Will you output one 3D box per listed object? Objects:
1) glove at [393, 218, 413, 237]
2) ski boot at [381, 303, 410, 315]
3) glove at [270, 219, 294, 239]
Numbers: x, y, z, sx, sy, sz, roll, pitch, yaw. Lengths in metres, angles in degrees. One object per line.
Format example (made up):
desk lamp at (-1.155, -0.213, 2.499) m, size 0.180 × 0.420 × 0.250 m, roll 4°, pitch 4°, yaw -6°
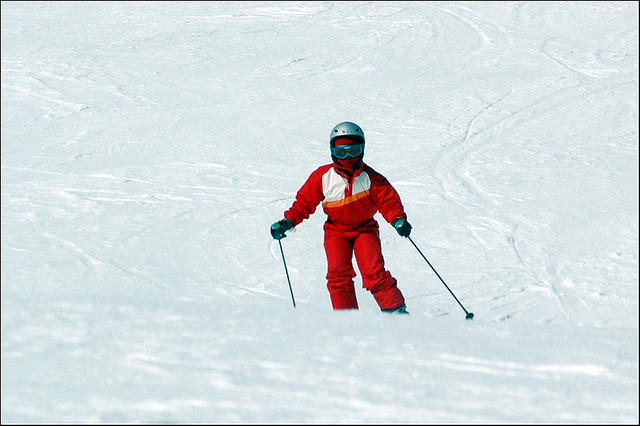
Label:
glove at (1.181, 0.216, 11.727) m, size 0.242 × 0.301 × 0.233 m, roll -7°, pitch 27°, yaw -1°
ski boot at (1.076, 1.333, 11.614) m, size 0.255 × 0.114 × 0.165 m, roll -3°, pitch 0°, yaw 7°
glove at (-0.546, 0.207, 11.974) m, size 0.182 × 0.243 × 0.344 m, roll 17°, pitch 32°, yaw 37°
